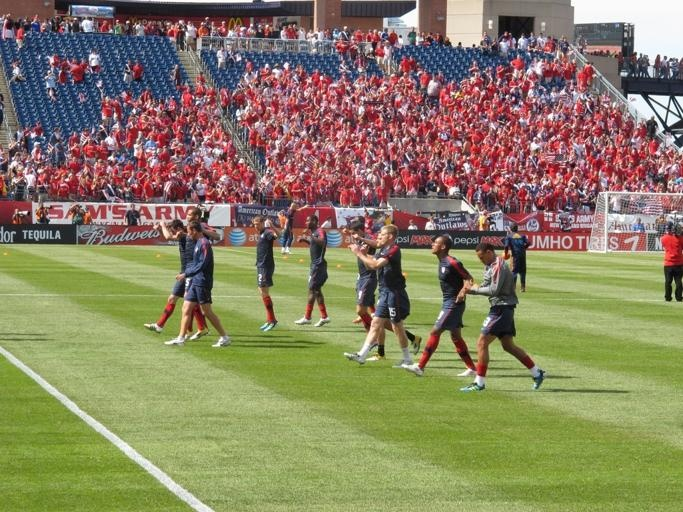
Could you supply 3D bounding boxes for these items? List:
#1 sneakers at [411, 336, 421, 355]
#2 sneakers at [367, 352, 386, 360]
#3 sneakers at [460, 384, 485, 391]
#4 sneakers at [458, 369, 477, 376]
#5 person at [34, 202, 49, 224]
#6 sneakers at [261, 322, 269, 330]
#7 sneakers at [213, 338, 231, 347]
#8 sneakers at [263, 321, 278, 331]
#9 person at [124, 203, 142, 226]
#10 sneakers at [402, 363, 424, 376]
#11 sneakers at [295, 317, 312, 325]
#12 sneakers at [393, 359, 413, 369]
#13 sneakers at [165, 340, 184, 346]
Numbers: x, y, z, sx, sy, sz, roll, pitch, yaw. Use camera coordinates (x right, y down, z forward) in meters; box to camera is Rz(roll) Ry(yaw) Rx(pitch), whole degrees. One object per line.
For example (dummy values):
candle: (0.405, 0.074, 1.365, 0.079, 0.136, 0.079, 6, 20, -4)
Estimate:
sneakers: (1.825, 2.267, 41.604, 0.229, 0.512, 0.168, -3, 20, -11)
sneakers: (0.804, 2.494, 41.343, 0.499, 0.217, 0.177, 4, -6, 1)
sneakers: (3.002, 3.074, 38.943, 0.561, 0.242, 0.205, 1, -7, 4)
sneakers: (2.978, 2.779, 40.036, 0.470, 0.207, 0.163, -2, -8, 25)
person: (-12.008, -1.720, 66.917, 0.525, 0.851, 0.317, 0, 11, -11)
sneakers: (-2.091, 1.858, 44.082, 0.209, 0.078, 0.155, -26, -4, 23)
sneakers: (-3.116, 2.168, 42.145, 0.526, 0.231, 0.182, -3, -3, 30)
sneakers: (-1.899, 1.856, 44.069, 0.444, 0.182, 0.162, -16, -37, 26)
person: (-8.469, -1.652, 67.768, 0.632, 0.899, 0.437, -1, 11, -16)
sneakers: (1.648, 2.676, 39.808, 0.463, 0.218, 0.217, 27, -26, 1)
sneakers: (-1.078, 1.751, 44.971, 0.430, 0.224, 0.173, 3, -2, 8)
sneakers: (1.394, 2.595, 40.200, 0.544, 0.241, 0.190, 3, -6, 18)
sneakers: (-4.212, 2.167, 42.014, 0.504, 0.211, 0.176, 2, 0, 23)
